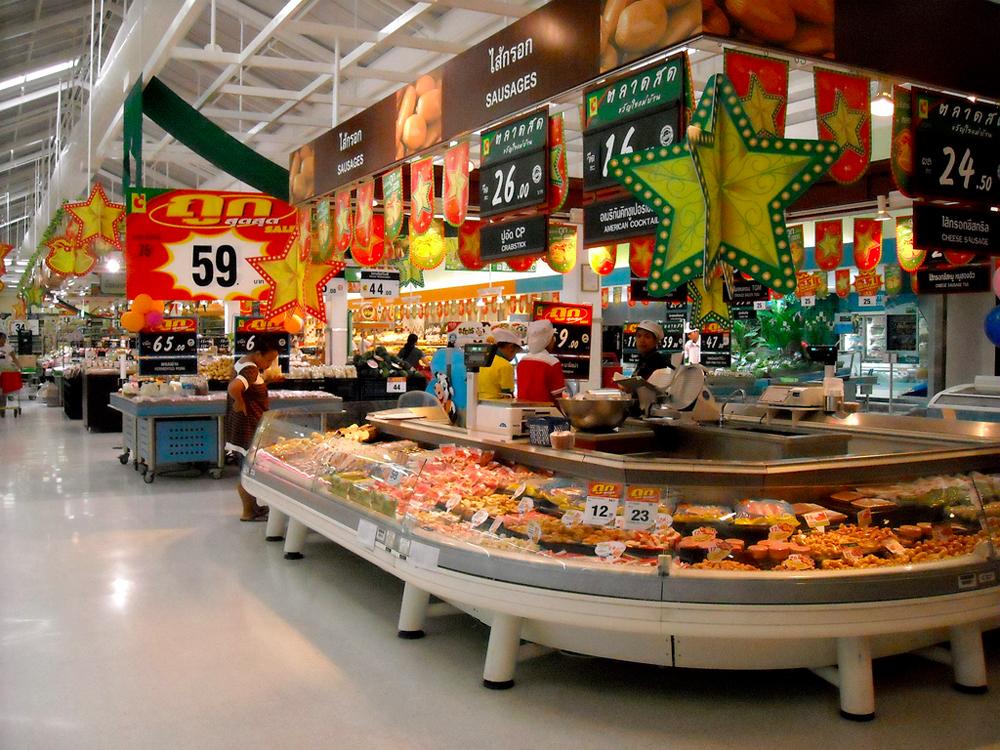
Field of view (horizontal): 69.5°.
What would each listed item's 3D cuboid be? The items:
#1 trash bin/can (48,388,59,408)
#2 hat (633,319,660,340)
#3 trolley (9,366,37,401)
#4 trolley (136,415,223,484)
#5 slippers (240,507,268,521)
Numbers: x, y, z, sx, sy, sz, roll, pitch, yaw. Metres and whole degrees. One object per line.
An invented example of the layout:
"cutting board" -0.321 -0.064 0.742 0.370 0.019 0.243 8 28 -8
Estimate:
"trash bin/can" -12.350 0.582 19.993 0.301 0.479 0.567 -2 4 -34
"hat" 1.454 -0.445 7.043 0.218 0.184 0.271 0 3 10
"trolley" -14.409 0.239 21.828 0.612 0.751 1.141 1 -1 -30
"trolley" -4.115 0.890 9.258 0.902 0.830 1.127 -2 4 -31
"slippers" -2.383 1.346 7.036 0.261 0.225 0.126 2 -4 -22
